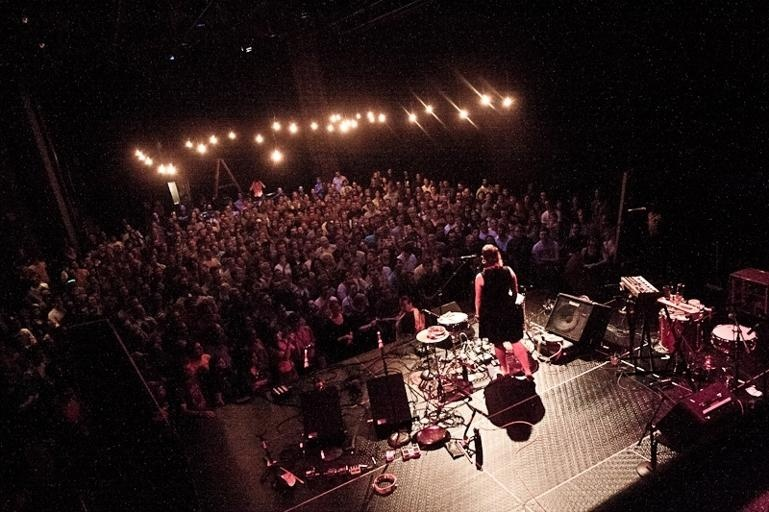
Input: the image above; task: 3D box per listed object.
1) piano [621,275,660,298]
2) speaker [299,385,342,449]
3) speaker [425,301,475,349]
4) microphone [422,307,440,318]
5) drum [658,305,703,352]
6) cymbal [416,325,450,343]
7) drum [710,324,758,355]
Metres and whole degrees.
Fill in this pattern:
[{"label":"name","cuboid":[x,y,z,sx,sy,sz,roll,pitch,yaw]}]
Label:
[{"label":"piano","cuboid":[4.104,0.468,8.743,0.380,0.107,0.395,-12,32,-13]},{"label":"speaker","cuboid":[-0.935,2.440,8.525,0.648,0.862,0.381,-8,-3,4]},{"label":"speaker","cuboid":[1.235,1.263,10.238,0.824,0.745,0.854,-16,11,-32]},{"label":"microphone","cuboid":[0.887,1.103,10.398,0.475,0.081,0.106,31,11,-44]},{"label":"drum","cuboid":[4.590,1.202,8.704,0.734,0.714,0.743,-4,4,33]},{"label":"cymbal","cuboid":[0.777,1.276,8.850,0.500,0.260,0.352,-9,6,2]},{"label":"drum","cuboid":[5.298,1.255,8.375,0.527,0.213,0.523,-9,21,3]}]
